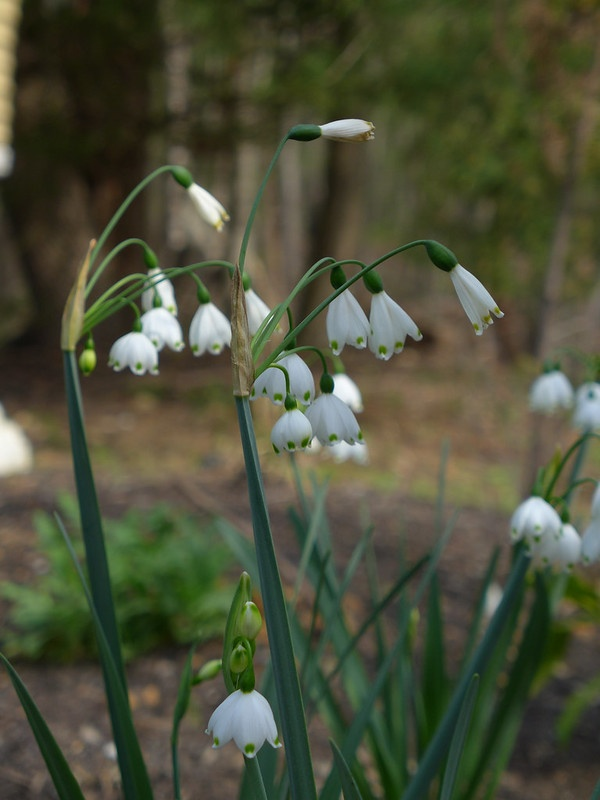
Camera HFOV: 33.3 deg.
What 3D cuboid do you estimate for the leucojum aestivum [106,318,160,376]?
[{"bbox_3d":[-0.312,-0.097,1.894,0.094,0.117,0.097,3,11,5],"label":"leucojum aestivum"}]

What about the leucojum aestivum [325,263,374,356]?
[{"bbox_3d":[0.076,-0.163,1.759,0.066,0.161,0.066,-8,39,8],"label":"leucojum aestivum"}]

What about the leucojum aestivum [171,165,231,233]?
[{"bbox_3d":[-0.188,-0.382,1.900,0.108,0.110,0.213,5,13,-5],"label":"leucojum aestivum"}]

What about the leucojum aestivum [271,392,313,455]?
[{"bbox_3d":[-0.004,0.046,1.766,0.071,0.116,0.076,12,14,24],"label":"leucojum aestivum"}]

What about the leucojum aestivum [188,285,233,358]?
[{"bbox_3d":[-0.179,-0.173,1.983,0.077,0.158,0.089,-9,2,-24],"label":"leucojum aestivum"}]

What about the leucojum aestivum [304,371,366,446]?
[{"bbox_3d":[0.050,0.015,1.782,0.107,0.139,0.087,-7,-6,3],"label":"leucojum aestivum"}]

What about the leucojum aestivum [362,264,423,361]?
[{"bbox_3d":[0.165,-0.149,1.806,0.111,0.175,0.190,7,13,6],"label":"leucojum aestivum"}]

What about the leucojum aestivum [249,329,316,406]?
[{"bbox_3d":[0.003,-0.055,1.807,0.103,0.113,0.107,0,-3,-33],"label":"leucojum aestivum"}]

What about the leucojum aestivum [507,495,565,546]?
[{"bbox_3d":[0.425,0.220,1.799,0.085,0.097,0.077,11,13,20],"label":"leucojum aestivum"}]

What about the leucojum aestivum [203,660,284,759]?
[{"bbox_3d":[-0.087,0.504,1.684,0.132,0.156,0.113,4,-6,-20],"label":"leucojum aestivum"}]
